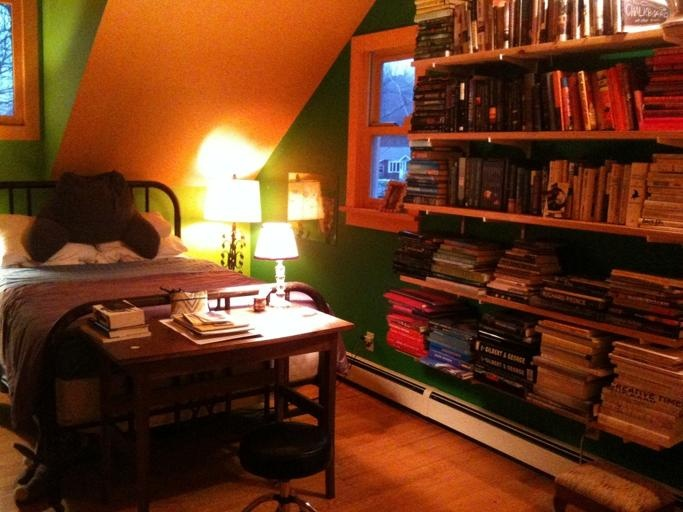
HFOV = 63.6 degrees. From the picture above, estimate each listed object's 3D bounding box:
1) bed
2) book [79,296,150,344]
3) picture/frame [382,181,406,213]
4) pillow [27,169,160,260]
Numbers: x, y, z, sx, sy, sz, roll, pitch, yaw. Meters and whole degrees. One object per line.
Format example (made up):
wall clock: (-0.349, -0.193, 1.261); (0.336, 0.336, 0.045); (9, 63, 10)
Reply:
bed: (-0.964, 0.258, 2.983); (1.445, 0.838, 1.483); (-4, 7, -30)
book: (-1.034, 0.272, 2.559); (0.193, 0.106, 0.250); (-6, 14, -35)
picture/frame: (0.383, -0.420, 3.935); (0.175, 0.205, 0.075); (12, 2, 35)
pillow: (-1.987, -0.338, 4.407); (0.865, 0.751, 0.299); (4, -21, -30)
